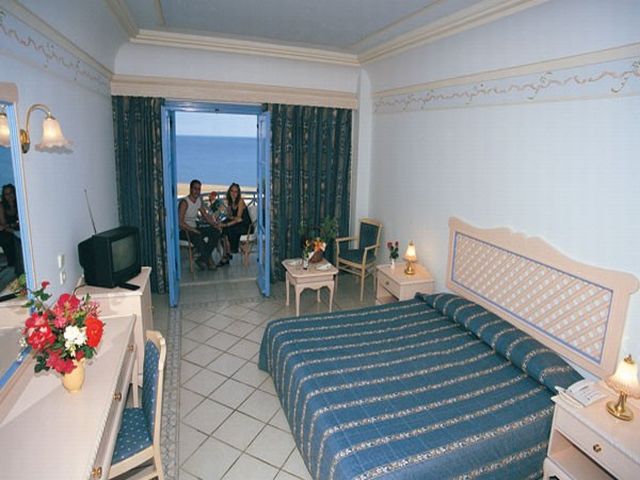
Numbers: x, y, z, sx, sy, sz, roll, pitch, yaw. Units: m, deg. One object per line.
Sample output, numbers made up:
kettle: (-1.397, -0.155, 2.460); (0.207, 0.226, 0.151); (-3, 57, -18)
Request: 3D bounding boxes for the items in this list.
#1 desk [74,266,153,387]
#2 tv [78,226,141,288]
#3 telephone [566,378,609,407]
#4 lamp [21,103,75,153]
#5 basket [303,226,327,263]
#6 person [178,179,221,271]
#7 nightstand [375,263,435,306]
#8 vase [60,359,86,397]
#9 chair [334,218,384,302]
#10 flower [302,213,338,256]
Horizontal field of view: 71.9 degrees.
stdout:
desk: (-1.932, 0.796, 4.091); (0.604, 0.995, 1.015); (-2, 18, -13)
tv: (-2.377, 0.167, 4.965); (0.499, 0.576, 0.572); (4, 15, 6)
telephone: (2.306, 1.310, 3.818); (0.266, 0.060, 0.157); (-12, 24, -26)
lamp: (-2.410, -0.990, 3.810); (0.302, 0.426, 0.243); (-18, 56, -38)
basket: (-0.024, 0.140, 6.717); (0.287, 0.362, 0.286); (-7, -7, -4)
person: (-2.240, -0.302, 8.022); (0.784, 1.578, 0.685); (10, 22, 4)
nightstand: (1.218, 0.675, 6.424); (0.506, 0.715, 0.840); (-1, 15, -17)
vase: (-1.857, 1.032, 3.314); (0.213, 0.255, 0.157); (5, 24, -10)
chair: (0.621, 0.290, 7.329); (0.697, 1.211, 0.809); (1, 14, -1)
flower: (0.030, -0.096, 7.570); (0.342, 0.672, 0.606); (-8, 13, -31)
